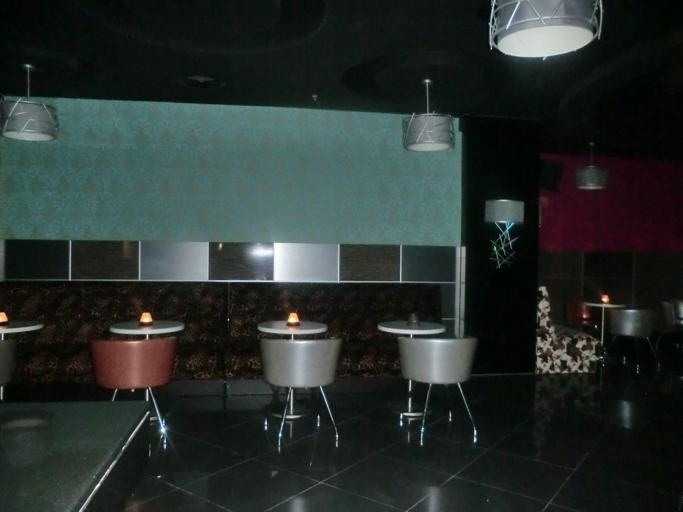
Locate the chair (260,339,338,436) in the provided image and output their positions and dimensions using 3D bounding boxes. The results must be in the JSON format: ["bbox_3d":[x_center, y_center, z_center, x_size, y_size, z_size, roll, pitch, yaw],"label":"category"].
[{"bbox_3d":[-0.402,1.110,5.713,0.817,1.079,0.767,0,-3,-9],"label":"chair"}]

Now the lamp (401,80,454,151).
[{"bbox_3d":[0.857,-1.478,6.578,0.608,0.686,0.627,1,-1,-3],"label":"lamp"}]

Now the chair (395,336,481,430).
[{"bbox_3d":[0.815,1.186,5.812,0.826,1.077,0.771,0,-3,-3],"label":"chair"}]

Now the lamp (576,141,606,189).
[{"bbox_3d":[3.407,-1.206,8.436,0.377,0.687,0.747,5,13,21],"label":"lamp"}]
